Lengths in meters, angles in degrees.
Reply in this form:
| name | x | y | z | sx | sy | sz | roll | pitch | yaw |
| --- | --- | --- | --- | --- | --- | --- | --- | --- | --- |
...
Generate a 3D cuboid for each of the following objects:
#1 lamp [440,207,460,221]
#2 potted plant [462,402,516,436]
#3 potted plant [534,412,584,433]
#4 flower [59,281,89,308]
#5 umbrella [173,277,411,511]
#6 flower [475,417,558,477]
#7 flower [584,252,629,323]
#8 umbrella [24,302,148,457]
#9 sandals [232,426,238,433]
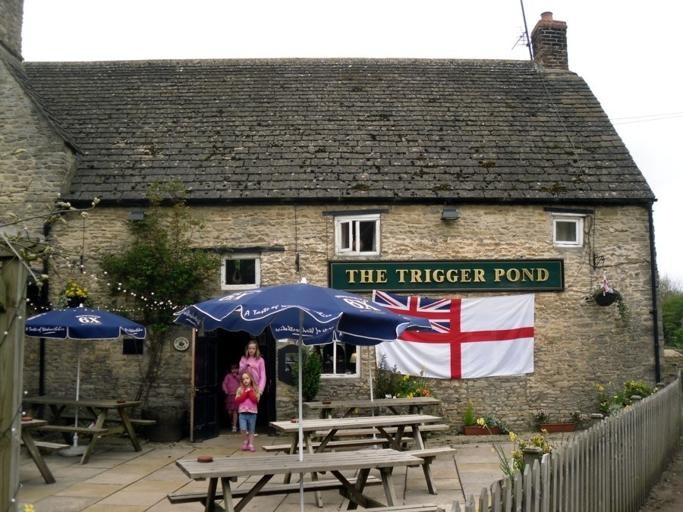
| name | x | y | z | sx | sy | sz | roll | pitch | yaw |
| --- | --- | --- | --- | --- | --- | --- | --- | --- | --- |
| lamp | 2.501 | -0.934 | 23.344 | 0.410 | 0.315 | 0.265 | -1 | -7 | 5 |
| potted plant | 3.196 | 3.744 | 22.856 | 0.843 | 0.559 | 0.792 | 1 | -4 | -4 |
| potted plant | 4.922 | 3.810 | 23.101 | 0.817 | 0.276 | 0.518 | 0 | -6 | -2 |
| flower | -5.991 | 0.940 | 23.130 | 0.700 | 0.680 | 0.631 | -2 | -8 | -25 |
| umbrella | -0.902 | 2.413 | 18.277 | 4.194 | 3.473 | 3.745 | 0 | -5 | -16 |
| flower | 3.056 | 3.525 | 17.769 | 1.539 | 1.312 | 0.886 | 2 | -10 | -21 |
| flower | 6.052 | 0.629 | 23.328 | 0.684 | 1.138 | 0.747 | 13 | -12 | -35 |
| umbrella | -5.566 | 2.412 | 21.599 | 2.547 | 2.700 | 2.594 | 2 | 0 | 38 |
| sandals | -2.410 | 4.007 | 23.460 | 0.127 | 0.147 | 0.160 | 1 | -16 | -1 |
